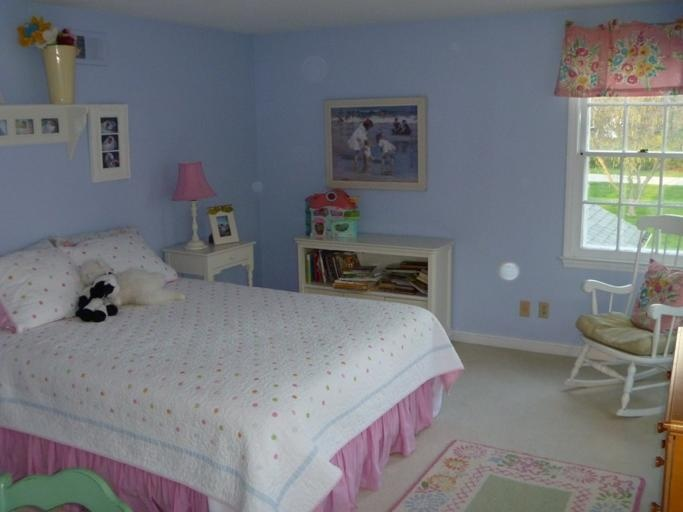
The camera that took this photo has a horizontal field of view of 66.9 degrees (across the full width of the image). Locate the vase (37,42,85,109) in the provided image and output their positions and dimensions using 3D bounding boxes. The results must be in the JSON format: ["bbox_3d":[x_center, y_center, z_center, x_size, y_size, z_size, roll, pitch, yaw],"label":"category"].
[{"bbox_3d":[-1.852,-1.201,3.472,0.238,0.362,0.244,0,4,21],"label":"vase"}]

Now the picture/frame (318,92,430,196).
[{"bbox_3d":[0.338,-1.034,4.701,0.936,0.822,0.035,5,17,23],"label":"picture/frame"}]

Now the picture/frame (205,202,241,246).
[{"bbox_3d":[-1.070,-0.279,4.583,0.184,0.331,0.264,15,20,42],"label":"picture/frame"}]

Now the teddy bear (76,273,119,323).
[{"bbox_3d":[-1.472,0.274,3.150,0.184,0.088,0.304,37,5,4],"label":"teddy bear"}]

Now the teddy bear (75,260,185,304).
[{"bbox_3d":[-1.413,0.166,3.499,0.605,0.227,0.458,4,32,-9],"label":"teddy bear"}]

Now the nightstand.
[{"bbox_3d":[-1.121,0.175,4.560,0.495,0.574,0.630,12,17,34],"label":"nightstand"}]

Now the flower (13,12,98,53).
[{"bbox_3d":[-1.891,-1.478,3.444,0.322,0.240,0.431,8,13,43],"label":"flower"}]
